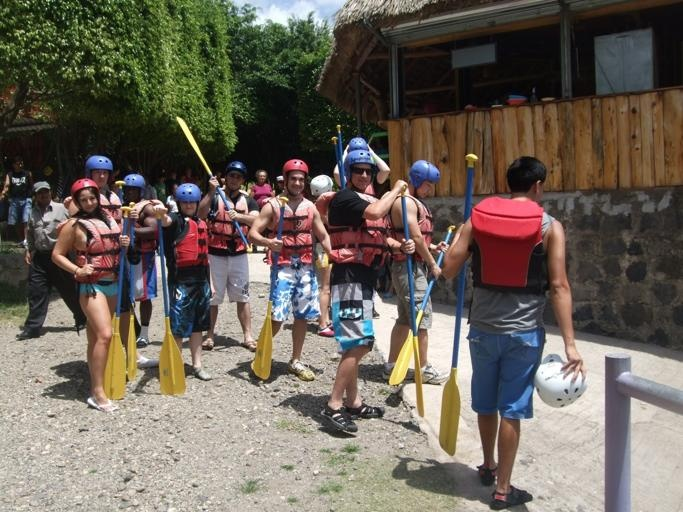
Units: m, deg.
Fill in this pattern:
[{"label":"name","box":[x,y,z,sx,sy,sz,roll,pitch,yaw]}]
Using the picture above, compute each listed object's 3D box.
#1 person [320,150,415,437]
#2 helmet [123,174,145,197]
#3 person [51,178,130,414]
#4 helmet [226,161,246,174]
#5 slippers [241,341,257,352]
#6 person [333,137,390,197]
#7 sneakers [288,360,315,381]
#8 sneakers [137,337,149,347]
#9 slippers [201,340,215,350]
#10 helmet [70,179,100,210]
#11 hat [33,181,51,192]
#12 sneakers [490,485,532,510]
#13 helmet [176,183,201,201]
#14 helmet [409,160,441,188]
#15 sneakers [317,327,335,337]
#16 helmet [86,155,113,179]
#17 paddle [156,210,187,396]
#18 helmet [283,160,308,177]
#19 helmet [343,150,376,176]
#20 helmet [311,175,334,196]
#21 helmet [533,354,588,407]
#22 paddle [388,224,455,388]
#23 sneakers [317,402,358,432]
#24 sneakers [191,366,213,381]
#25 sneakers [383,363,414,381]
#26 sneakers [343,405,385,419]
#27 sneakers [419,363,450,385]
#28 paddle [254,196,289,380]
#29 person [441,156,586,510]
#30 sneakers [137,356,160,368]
[{"label":"person","box":[0.208,0.367,8.364,0.837,2.989,0.891,0,7,3]},{"label":"helmet","box":[-2.763,-0.926,10.207,0.221,0.261,0.306,1,-2,-3]},{"label":"person","box":[-2.811,0.415,8.804,0.670,2.550,0.710,1,7,16]},{"label":"helmet","box":[-1.438,-1.187,10.415,0.205,0.310,0.255,2,5,-1]},{"label":"slippers","box":[-1.233,1.211,10.333,0.118,0.091,0.307,-5,8,-31]},{"label":"person","box":[0.216,-1.290,10.082,0.725,0.483,1.053,-6,20,-10]},{"label":"sneakers","box":[-0.491,1.396,9.453,0.342,0.160,0.171,11,14,43]},{"label":"sneakers","box":[-2.726,1.174,10.469,0.100,0.117,0.274,0,-8,-8]},{"label":"slippers","box":[-1.798,1.194,10.281,0.184,0.142,0.486,0,-3,-8]},{"label":"helmet","box":[-2.956,-0.729,8.762,0.231,0.334,0.316,-9,0,-27]},{"label":"hat","box":[-4.560,-1.035,11.593,0.212,0.109,0.308,-4,6,-30]},{"label":"sneakers","box":[1.591,2.261,7.158,0.419,0.182,0.172,-7,8,-19]},{"label":"helmet","box":[-1.908,-0.766,9.522,0.201,0.233,0.284,2,-14,-16]},{"label":"helmet","box":[0.979,-0.961,9.052,0.335,0.311,0.261,3,8,18]},{"label":"sneakers","box":[-0.221,1.071,11.109,0.185,0.149,0.342,-1,-4,-26]},{"label":"helmet","box":[-3.125,-1.134,9.845,0.232,0.305,0.301,-1,4,-37]},{"label":"paddle","box":[-2.030,0.591,9.020,0.302,1.997,0.699,-3,7,-13]},{"label":"helmet","box":[-0.560,-1.064,9.299,0.183,0.249,0.250,1,-1,-18]},{"label":"helmet","box":[0.172,-1.049,8.259,0.217,0.242,0.312,1,-29,-10]},{"label":"helmet","box":[-0.297,-0.983,11.109,0.235,0.304,0.314,12,32,33]},{"label":"helmet","box":[1.900,1.196,6.977,0.309,0.380,0.394,10,17,-28]},{"label":"paddle","box":[0.953,0.647,9.262,0.179,2.436,0.263,19,-32,11]},{"label":"sneakers","box":[-0.057,1.724,8.238,0.439,0.215,0.224,18,9,27]},{"label":"sneakers","box":[-1.696,1.426,9.317,0.102,0.103,0.259,-6,8,-39]},{"label":"sneakers","box":[0.708,1.428,9.475,0.484,0.255,0.189,-2,3,5]},{"label":"sneakers","box":[0.254,1.723,8.477,0.436,0.188,0.173,-1,6,-15]},{"label":"sneakers","box":[1.102,1.440,9.206,0.387,0.201,0.158,0,1,2]},{"label":"paddle","box":[-0.909,0.420,9.324,0.436,2.158,0.619,1,7,19]},{"label":"person","box":[1.580,0.723,7.178,1.133,3.225,0.668,0,7,8]},{"label":"sneakers","box":[-2.475,1.355,9.821,0.318,0.151,0.114,-1,5,-14]}]
